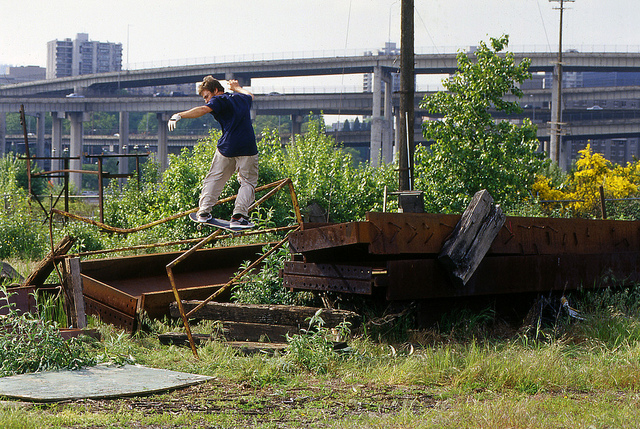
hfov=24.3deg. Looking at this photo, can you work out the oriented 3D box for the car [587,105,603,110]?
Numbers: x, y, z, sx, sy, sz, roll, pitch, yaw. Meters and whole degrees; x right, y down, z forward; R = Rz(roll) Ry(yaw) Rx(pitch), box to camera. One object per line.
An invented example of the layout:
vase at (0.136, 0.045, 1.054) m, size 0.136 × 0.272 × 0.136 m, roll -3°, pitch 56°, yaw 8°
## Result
car at (47.673, -18.568, 257.079) m, size 2.015 × 0.889 × 3.175 m, roll 1°, pitch 6°, yaw 7°
